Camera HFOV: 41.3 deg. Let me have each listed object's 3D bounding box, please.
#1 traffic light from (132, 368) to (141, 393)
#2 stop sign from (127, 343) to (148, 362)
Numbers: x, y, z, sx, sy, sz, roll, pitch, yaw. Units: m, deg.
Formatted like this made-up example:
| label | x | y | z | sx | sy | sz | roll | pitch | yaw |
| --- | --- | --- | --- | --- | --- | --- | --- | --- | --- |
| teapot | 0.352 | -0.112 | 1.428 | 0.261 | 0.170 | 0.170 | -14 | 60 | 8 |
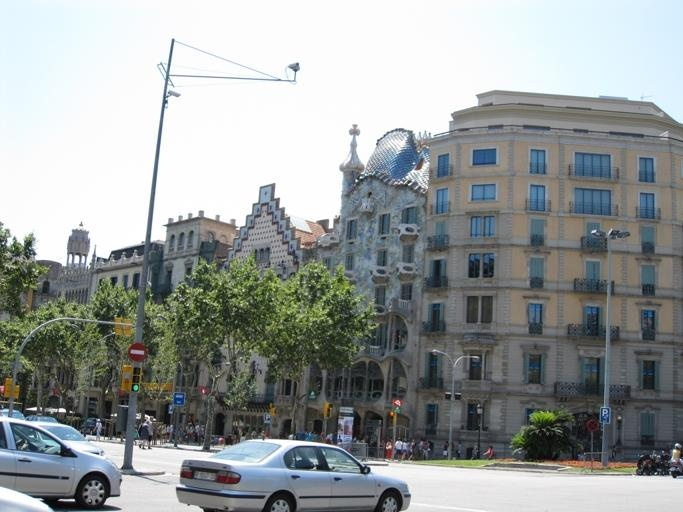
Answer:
| label | x | y | z | sx | sy | sz | roll | pitch | yaw |
| --- | --- | --- | --- | --- | --- | --- | --- | --- | --- |
| traffic light | -8.937 | 5.426 | 39.655 | 0.349 | 1.132 | 0.422 | 2 | -12 | 6 |
| stop sign | -8.810 | 4.154 | 39.078 | 0.707 | 0.784 | 1.334 | 6 | -13 | -13 |
